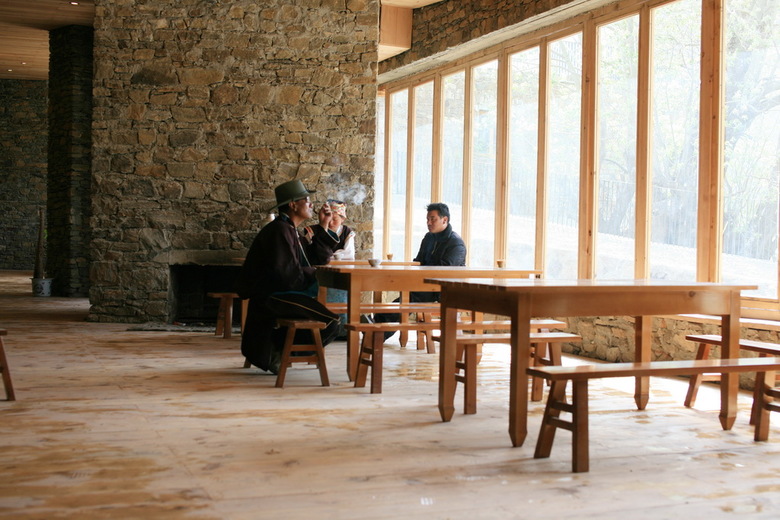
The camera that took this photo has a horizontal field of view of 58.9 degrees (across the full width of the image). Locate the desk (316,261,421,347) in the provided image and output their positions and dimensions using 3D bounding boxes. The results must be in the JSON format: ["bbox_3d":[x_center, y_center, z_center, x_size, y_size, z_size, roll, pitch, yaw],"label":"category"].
[{"bbox_3d":[-0.173,0.271,6.584,1.197,0.634,0.845,0,8,-22],"label":"desk"}]

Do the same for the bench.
[{"bbox_3d":[1.641,0.728,5.117,2.404,1.151,1.314,-1,7,-12],"label":"bench"}]

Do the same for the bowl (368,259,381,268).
[{"bbox_3d":[-0.147,0.030,6.556,0.096,0.048,0.088,-3,0,0],"label":"bowl"}]

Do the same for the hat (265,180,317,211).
[{"bbox_3d":[-0.997,-0.681,6.982,0.469,0.154,0.378,-18,3,2],"label":"hat"}]
